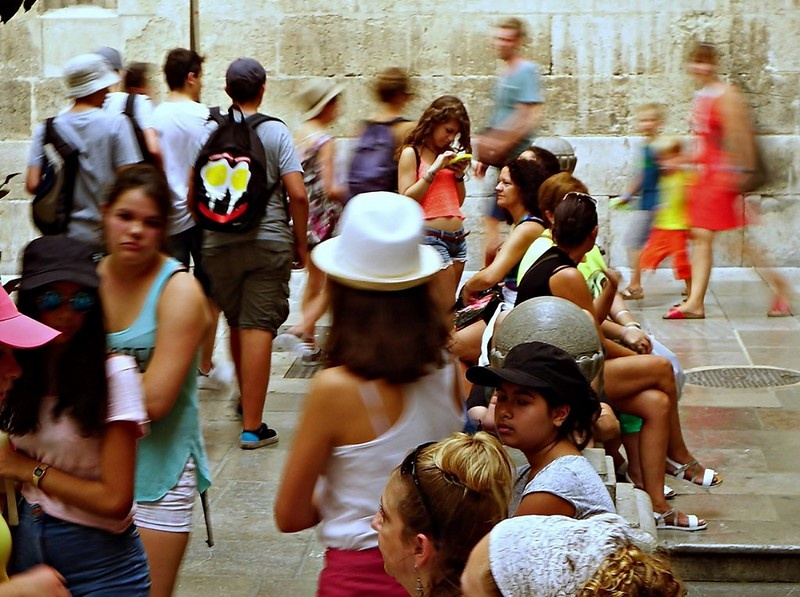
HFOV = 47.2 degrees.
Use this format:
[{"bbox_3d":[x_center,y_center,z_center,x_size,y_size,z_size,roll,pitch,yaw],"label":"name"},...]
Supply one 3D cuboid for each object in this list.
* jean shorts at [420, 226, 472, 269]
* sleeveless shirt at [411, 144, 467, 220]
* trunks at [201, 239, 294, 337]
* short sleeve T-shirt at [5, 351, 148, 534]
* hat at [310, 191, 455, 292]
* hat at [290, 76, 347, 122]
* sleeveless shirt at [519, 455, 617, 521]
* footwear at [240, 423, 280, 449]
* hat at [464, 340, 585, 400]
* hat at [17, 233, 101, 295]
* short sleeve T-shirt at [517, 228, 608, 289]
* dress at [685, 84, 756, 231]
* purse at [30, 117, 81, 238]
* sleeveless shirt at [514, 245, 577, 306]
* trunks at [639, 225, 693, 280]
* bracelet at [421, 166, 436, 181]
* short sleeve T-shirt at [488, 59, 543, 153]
[{"bbox_3d":[0.331,-0.375,6.889,0.300,0.276,0.407,1,9,45],"label":"jean shorts"},{"bbox_3d":[0.289,-0.836,6.670,0.520,0.538,0.384,-2,1,-19],"label":"sleeveless shirt"},{"bbox_3d":[-0.985,-0.031,5.793,0.627,0.759,0.474,0,-1,14],"label":"trunks"},{"bbox_3d":[-1.090,0.449,2.896,0.611,0.549,0.334,-3,-19,33],"label":"short sleeve T-shirt"},{"bbox_3d":[-0.051,-0.167,2.854,0.333,0.135,0.363,-14,37,-27],"label":"hat"},{"bbox_3d":[-0.600,-1.561,6.902,0.412,0.173,0.433,-30,28,38],"label":"hat"},{"bbox_3d":[0.574,0.629,3.146,0.260,0.231,0.227,1,-5,-14],"label":"sleeveless shirt"},{"bbox_3d":[-0.867,0.853,5.693,0.110,0.108,0.256,5,8,29],"label":"footwear"},{"bbox_3d":[0.491,0.252,3.346,0.495,0.156,0.323,8,-5,-22],"label":"hat"},{"bbox_3d":[-1.057,-0.106,2.823,0.226,0.144,0.240,-5,16,-23],"label":"hat"},{"bbox_3d":[0.801,-0.195,4.625,0.334,0.283,0.171,-8,14,-37],"label":"short sleeve T-shirt"},{"bbox_3d":[2.849,-1.258,8.338,0.518,1.251,0.413,9,17,25],"label":"dress"},{"bbox_3d":[-2.085,-0.732,5.523,0.224,0.653,0.199,9,18,25],"label":"purse"},{"bbox_3d":[0.760,-0.097,4.428,0.239,0.280,0.173,3,-10,-13],"label":"sleeveless shirt"},{"bbox_3d":[2.543,-0.453,8.816,0.493,0.425,0.180,13,7,31],"label":"trunks"},{"bbox_3d":[0.197,-0.878,6.488,0.058,0.111,0.095,25,-10,-17],"label":"bracelet"},{"bbox_3d":[0.905,-1.658,7.488,0.478,0.559,0.361,9,17,26],"label":"short sleeve T-shirt"}]
